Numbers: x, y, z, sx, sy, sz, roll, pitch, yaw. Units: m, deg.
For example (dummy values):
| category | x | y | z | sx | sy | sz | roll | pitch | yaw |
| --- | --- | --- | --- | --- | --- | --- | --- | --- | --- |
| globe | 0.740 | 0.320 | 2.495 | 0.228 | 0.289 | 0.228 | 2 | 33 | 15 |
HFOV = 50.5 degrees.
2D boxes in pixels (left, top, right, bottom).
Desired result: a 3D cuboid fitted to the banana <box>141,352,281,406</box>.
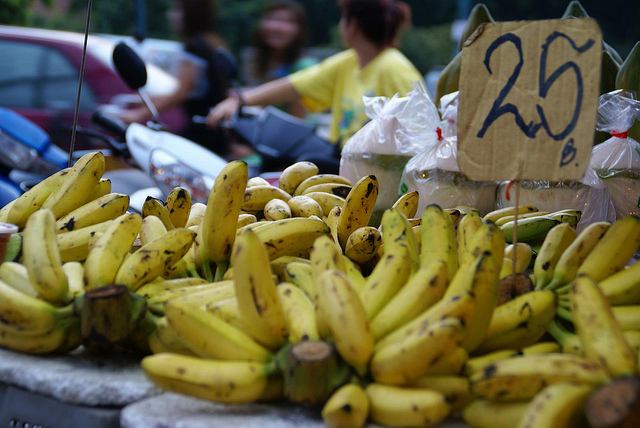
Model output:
| category | x | y | z | sx | sy | sz | roll | pitch | yaw |
| --- | --- | --- | --- | --- | --- | --- | --- | --- | --- |
| banana | -0.364 | 0.536 | 2.214 | 0.439 | 0.180 | 0.128 | 6 | -20 | -8 |

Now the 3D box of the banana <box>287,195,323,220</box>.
| category | x | y | z | sx | sy | sz | roll | pitch | yaw |
| --- | --- | --- | --- | --- | --- | --- | --- | --- | --- |
| banana | -0.061 | -0.026 | 2.790 | 0.135 | 0.075 | 0.078 | 26 | 66 | 25 |

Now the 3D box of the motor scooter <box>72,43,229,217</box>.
| category | x | y | z | sx | sy | sz | roll | pitch | yaw |
| --- | --- | --- | --- | --- | --- | --- | --- | --- | --- |
| motor scooter | -1.127 | -0.523 | 4.293 | 1.148 | 0.865 | 0.718 | 29 | 16 | 39 |

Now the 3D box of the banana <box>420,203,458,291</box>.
| category | x | y | z | sx | sy | sz | roll | pitch | yaw |
| --- | --- | --- | --- | --- | --- | --- | --- | --- | --- |
| banana | 0.395 | 0.085 | 2.313 | 0.079 | 0.360 | 0.107 | -11 | -24 | 18 |

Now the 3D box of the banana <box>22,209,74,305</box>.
| category | x | y | z | sx | sy | sz | roll | pitch | yaw |
| --- | --- | --- | --- | --- | --- | --- | --- | --- | --- |
| banana | -0.989 | 0.123 | 2.436 | 0.182 | 0.139 | 0.470 | 15 | 34 | -32 |

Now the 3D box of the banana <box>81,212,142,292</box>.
| category | x | y | z | sx | sy | sz | roll | pitch | yaw |
| --- | --- | --- | --- | --- | --- | --- | --- | --- | --- |
| banana | -0.729 | 0.119 | 2.496 | 0.100 | 0.125 | 0.388 | 23 | 59 | 2 |

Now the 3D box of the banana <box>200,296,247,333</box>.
| category | x | y | z | sx | sy | sz | roll | pitch | yaw |
| --- | --- | --- | --- | --- | --- | --- | --- | --- | --- |
| banana | -0.322 | 0.335 | 2.265 | 0.093 | 0.029 | 0.115 | -12 | 45 | -22 |

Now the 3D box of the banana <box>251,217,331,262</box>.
| category | x | y | z | sx | sy | sz | roll | pitch | yaw |
| --- | --- | --- | --- | --- | --- | --- | --- | --- | --- |
| banana | -0.124 | 0.080 | 2.520 | 0.332 | 0.135 | 0.100 | -5 | 18 | 0 |

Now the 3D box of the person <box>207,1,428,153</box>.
| category | x | y | z | sx | sy | sz | roll | pitch | yaw |
| --- | --- | --- | --- | --- | --- | --- | --- | --- | --- |
| person | 0.171 | -1.027 | 4.926 | 1.868 | 1.313 | 0.924 | 1 | 11 | 28 |

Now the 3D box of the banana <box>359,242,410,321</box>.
| category | x | y | z | sx | sy | sz | roll | pitch | yaw |
| --- | --- | --- | --- | --- | --- | --- | --- | --- | --- |
| banana | 0.208 | 0.189 | 2.407 | 0.118 | 0.182 | 0.502 | 11 | 14 | -8 |

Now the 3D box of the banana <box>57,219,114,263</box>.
| category | x | y | z | sx | sy | sz | roll | pitch | yaw |
| --- | --- | --- | --- | --- | --- | --- | --- | --- | --- |
| banana | -0.876 | 0.108 | 2.530 | 0.221 | 0.085 | 0.049 | -27 | 40 | -37 |

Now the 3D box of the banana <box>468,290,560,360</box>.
| category | x | y | z | sx | sy | sz | roll | pitch | yaw |
| --- | --- | --- | --- | --- | --- | --- | --- | --- | --- |
| banana | 0.649 | 0.349 | 2.372 | 0.153 | 0.147 | 0.499 | -25 | 6 | -2 |

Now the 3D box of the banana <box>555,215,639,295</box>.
| category | x | y | z | sx | sy | sz | roll | pitch | yaw |
| --- | --- | --- | --- | --- | --- | --- | --- | --- | --- |
| banana | 0.950 | 0.150 | 2.336 | 0.067 | 0.258 | 0.082 | 38 | -5 | 0 |

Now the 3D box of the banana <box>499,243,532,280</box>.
| category | x | y | z | sx | sy | sz | roll | pitch | yaw |
| --- | --- | --- | --- | --- | --- | --- | --- | --- | --- |
| banana | 0.709 | 0.171 | 2.466 | 0.100 | 0.062 | 0.167 | 14 | 59 | 25 |

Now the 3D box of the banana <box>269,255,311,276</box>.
| category | x | y | z | sx | sy | sz | roll | pitch | yaw |
| --- | --- | --- | --- | --- | --- | --- | --- | --- | --- |
| banana | -0.144 | 0.190 | 2.528 | 0.233 | 0.098 | 0.060 | 1 | -5 | -8 |

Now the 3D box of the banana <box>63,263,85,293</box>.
| category | x | y | z | sx | sy | sz | roll | pitch | yaw |
| --- | --- | --- | --- | --- | --- | --- | --- | --- | --- |
| banana | -0.872 | 0.222 | 2.421 | 0.061 | 0.051 | 0.173 | 2 | 26 | -12 |

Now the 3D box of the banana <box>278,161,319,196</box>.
| category | x | y | z | sx | sy | sz | roll | pitch | yaw |
| --- | --- | --- | --- | --- | --- | --- | --- | --- | --- |
| banana | -0.102 | -0.171 | 3.121 | 0.191 | 0.112 | 0.066 | -36 | 9 | -32 |

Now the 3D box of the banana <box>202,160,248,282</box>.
| category | x | y | z | sx | sy | sz | roll | pitch | yaw |
| --- | --- | --- | --- | --- | --- | --- | --- | --- | --- |
| banana | -0.334 | -0.011 | 2.545 | 0.101 | 0.511 | 0.149 | 6 | -2 | 5 |

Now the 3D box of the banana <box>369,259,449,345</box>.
| category | x | y | z | sx | sy | sz | roll | pitch | yaw |
| --- | --- | --- | --- | --- | --- | --- | --- | --- | --- |
| banana | 0.284 | 0.290 | 2.158 | 0.066 | 0.244 | 0.078 | 39 | -1 | -18 |

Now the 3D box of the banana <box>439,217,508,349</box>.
| category | x | y | z | sx | sy | sz | roll | pitch | yaw |
| --- | --- | --- | --- | --- | --- | --- | --- | --- | --- |
| banana | 0.495 | 0.221 | 2.131 | 0.120 | 0.536 | 0.156 | 22 | 17 | 23 |

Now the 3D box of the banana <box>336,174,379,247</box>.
| category | x | y | z | sx | sy | sz | roll | pitch | yaw |
| --- | --- | --- | --- | --- | --- | --- | --- | --- | --- |
| banana | 0.131 | -0.014 | 2.670 | 0.106 | 0.132 | 0.380 | 7 | -29 | -23 |

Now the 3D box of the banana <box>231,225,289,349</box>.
| category | x | y | z | sx | sy | sz | roll | pitch | yaw |
| --- | --- | --- | --- | --- | --- | --- | --- | --- | --- |
| banana | -0.197 | 0.245 | 2.138 | 0.106 | 0.478 | 0.141 | -11 | 12 | 8 |

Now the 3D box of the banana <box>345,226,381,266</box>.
| category | x | y | z | sx | sy | sz | roll | pitch | yaw |
| --- | --- | --- | --- | --- | --- | --- | --- | --- | --- |
| banana | 0.162 | 0.103 | 2.545 | 0.109 | 0.154 | 0.233 | 1 | -8 | -18 |

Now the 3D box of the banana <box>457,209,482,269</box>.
| category | x | y | z | sx | sy | sz | roll | pitch | yaw |
| --- | --- | --- | --- | --- | --- | --- | --- | --- | --- |
| banana | 0.509 | 0.093 | 2.322 | 0.043 | 0.192 | 0.055 | 23 | 14 | 28 |

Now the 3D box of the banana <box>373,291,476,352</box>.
| category | x | y | z | sx | sy | sz | roll | pitch | yaw |
| --- | --- | --- | --- | --- | --- | --- | --- | --- | --- |
| banana | 0.330 | 0.338 | 2.121 | 0.202 | 0.059 | 0.068 | -38 | 17 | -1 |

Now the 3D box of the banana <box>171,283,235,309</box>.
| category | x | y | z | sx | sy | sz | roll | pitch | yaw |
| --- | --- | --- | --- | --- | --- | --- | --- | --- | --- |
| banana | -0.382 | 0.283 | 2.354 | 0.260 | 0.081 | 0.102 | 1 | 53 | -5 |

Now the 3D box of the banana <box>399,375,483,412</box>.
| category | x | y | z | sx | sy | sz | roll | pitch | yaw |
| --- | --- | --- | --- | --- | --- | --- | --- | --- | --- |
| banana | 0.374 | 0.562 | 2.136 | 0.212 | 0.087 | 0.063 | 10 | 19 | 5 |

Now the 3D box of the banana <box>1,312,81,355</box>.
| category | x | y | z | sx | sy | sz | roll | pitch | yaw |
| --- | --- | --- | --- | --- | --- | --- | --- | --- | --- |
| banana | -0.970 | 0.409 | 2.356 | 0.170 | 0.065 | 0.126 | 5 | 40 | -1 |

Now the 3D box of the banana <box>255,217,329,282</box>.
| category | x | y | z | sx | sy | sz | roll | pitch | yaw |
| --- | --- | --- | --- | --- | --- | --- | --- | --- | --- |
| banana | -0.108 | 0.097 | 2.508 | 0.229 | 0.224 | 0.063 | 27 | 51 | 25 |
